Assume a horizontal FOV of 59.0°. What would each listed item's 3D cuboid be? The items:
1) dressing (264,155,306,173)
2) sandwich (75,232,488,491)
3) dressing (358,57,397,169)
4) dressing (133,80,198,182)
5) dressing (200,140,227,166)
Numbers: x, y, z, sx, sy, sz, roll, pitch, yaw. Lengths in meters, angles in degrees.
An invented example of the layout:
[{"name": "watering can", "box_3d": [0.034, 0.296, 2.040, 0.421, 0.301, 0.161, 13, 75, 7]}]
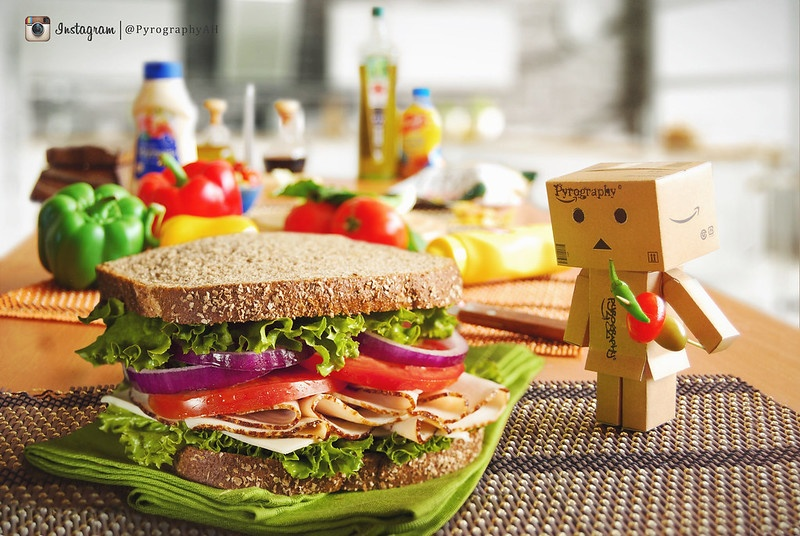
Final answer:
[{"name": "dressing", "box_3d": [-0.383, -0.344, 2.344, 0.078, 0.056, 0.079, 5, 10, 30]}, {"name": "sandwich", "box_3d": [-0.207, 0.118, 1.256, 0.608, 0.292, 0.632, -2, 10, -19]}, {"name": "dressing", "box_3d": [-0.067, -0.447, 2.172, 0.119, 0.370, 0.213, 2, 12, -1]}, {"name": "dressing", "box_3d": [-0.654, -0.397, 2.048, 0.174, 0.286, 0.279, 7, 13, 21]}, {"name": "dressing", "box_3d": [-0.596, -0.372, 2.254, 0.100, 0.052, 0.084, -1, 12, -15]}]
